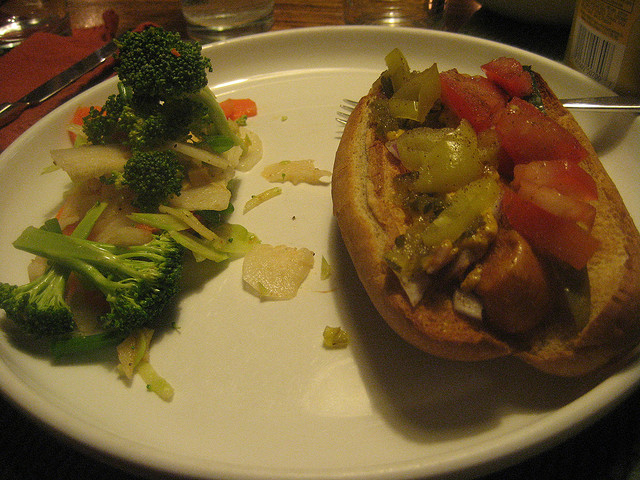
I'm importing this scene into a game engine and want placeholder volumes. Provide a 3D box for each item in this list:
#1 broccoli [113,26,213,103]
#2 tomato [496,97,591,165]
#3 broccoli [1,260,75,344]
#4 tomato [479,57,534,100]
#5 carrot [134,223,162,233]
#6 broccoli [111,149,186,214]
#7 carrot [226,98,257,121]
[{"bbox_3d":[-0.840,-0.948,3.190,0.449,0.228,0.428,21,38,19],"label":"broccoli"},{"bbox_3d":[1.051,-0.486,2.837,0.271,0.133,0.372,-44,71,-6],"label":"tomato"},{"bbox_3d":[-1.426,0.295,3.031,0.321,0.204,0.464,23,19,-24],"label":"broccoli"},{"bbox_3d":[0.984,-0.840,3.225,0.274,0.090,0.262,-39,73,-22],"label":"tomato"},{"bbox_3d":[-0.942,-0.065,3.193,0.083,0.013,0.021,24,55,-17],"label":"carrot"},{"bbox_3d":[-0.917,-0.365,3.272,0.348,0.319,0.186,-6,87,4],"label":"broccoli"},{"bbox_3d":[-0.527,-0.904,4.057,0.175,0.042,0.174,9,53,0],"label":"carrot"}]
